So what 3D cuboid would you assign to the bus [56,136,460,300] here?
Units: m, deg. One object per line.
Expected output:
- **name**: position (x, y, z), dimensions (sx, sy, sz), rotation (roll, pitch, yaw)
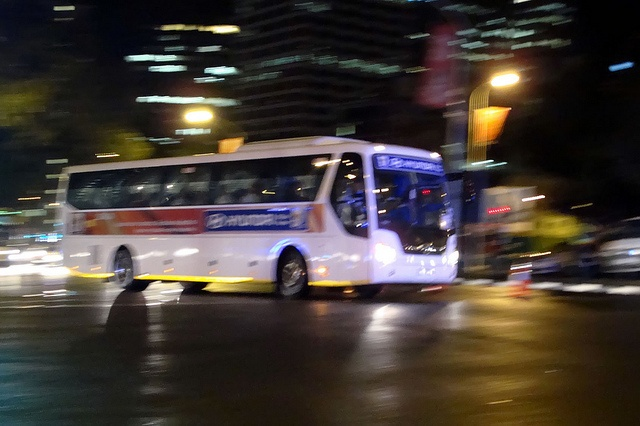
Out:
- **bus**: position (-2.832, 0.209, 17.404), dimensions (13.717, 4.431, 3.992), rotation (-3, -1, 33)
